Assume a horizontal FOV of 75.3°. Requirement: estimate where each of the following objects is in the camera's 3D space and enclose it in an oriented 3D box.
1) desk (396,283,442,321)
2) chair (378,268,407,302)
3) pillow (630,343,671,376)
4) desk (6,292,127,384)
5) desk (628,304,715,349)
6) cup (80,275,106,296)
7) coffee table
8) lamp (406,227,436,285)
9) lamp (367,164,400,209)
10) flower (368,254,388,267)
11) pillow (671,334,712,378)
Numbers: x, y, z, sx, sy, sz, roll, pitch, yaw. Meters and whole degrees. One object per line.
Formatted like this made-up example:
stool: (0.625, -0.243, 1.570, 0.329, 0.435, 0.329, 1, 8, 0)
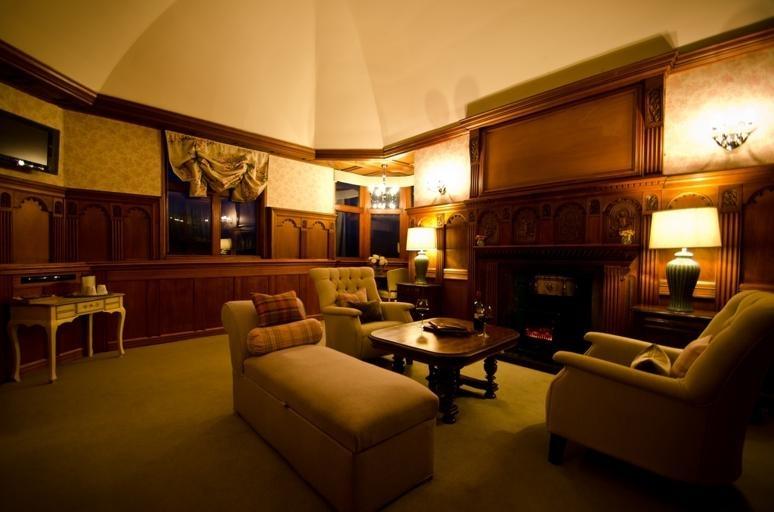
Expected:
desk: (0.531, 0.746, 8.603, 0.635, 0.629, 0.450, 3, 9, 40)
chair: (0.121, 0.499, 9.283, 0.492, 0.813, 0.520, -4, -6, 33)
pillow: (2.636, 1.028, 4.950, 0.280, 0.108, 0.322, 5, 7, 39)
desk: (-4.085, 1.214, 6.635, 0.866, 1.298, 1.517, -1, -1, 15)
desk: (3.395, 0.836, 6.071, 0.771, 0.764, 0.488, 5, 8, 32)
cup: (-3.922, 0.406, 6.738, 0.255, 0.318, 0.320, 1, -3, 1)
coffee table: (0.748, 1.099, 5.771, 1.271, 0.637, 1.215, 0, 3, -35)
lamp: (0.588, -0.034, 8.490, 0.461, 0.941, 0.625, 1, 3, 5)
lamp: (-0.054, -1.445, 10.552, 0.691, 1.037, 0.721, 1, 9, 2)
flower: (-0.174, 0.081, 9.859, 0.313, 0.253, 0.633, 1, 3, 2)
pillow: (2.984, 0.978, 4.903, 0.379, 0.137, 0.259, -40, -8, -20)
